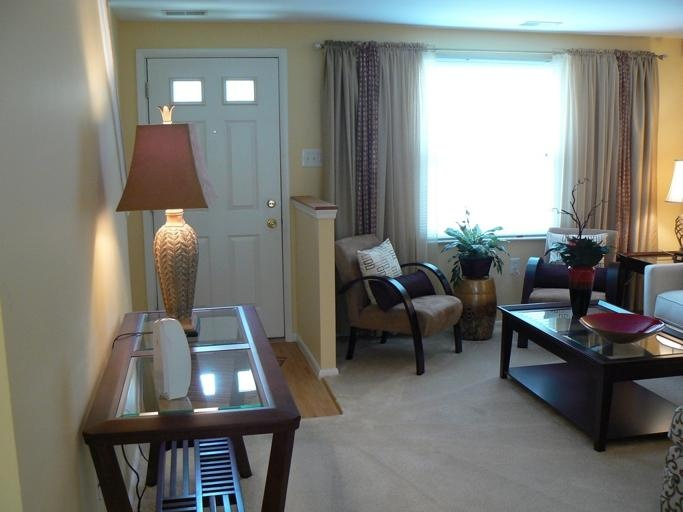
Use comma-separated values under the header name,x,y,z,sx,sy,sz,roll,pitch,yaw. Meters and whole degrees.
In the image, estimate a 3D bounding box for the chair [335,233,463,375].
name,x,y,z,sx,sy,sz,roll,pitch,yaw
chair,0.510,0.322,4.506,1.031,1.237,0.843,2,6,38

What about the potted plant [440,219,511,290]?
name,x,y,z,sx,sy,sz,roll,pitch,yaw
potted plant,1.102,-0.030,4.655,0.576,0.487,0.583,-1,-1,41

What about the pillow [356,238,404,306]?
name,x,y,z,sx,sy,sz,roll,pitch,yaw
pillow,0.281,0.136,4.140,0.177,0.379,0.391,13,26,41

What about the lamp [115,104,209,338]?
name,x,y,z,sx,sy,sz,roll,pitch,yaw
lamp,-0.744,-0.129,2.339,0.369,0.893,0.311,-2,12,-4
